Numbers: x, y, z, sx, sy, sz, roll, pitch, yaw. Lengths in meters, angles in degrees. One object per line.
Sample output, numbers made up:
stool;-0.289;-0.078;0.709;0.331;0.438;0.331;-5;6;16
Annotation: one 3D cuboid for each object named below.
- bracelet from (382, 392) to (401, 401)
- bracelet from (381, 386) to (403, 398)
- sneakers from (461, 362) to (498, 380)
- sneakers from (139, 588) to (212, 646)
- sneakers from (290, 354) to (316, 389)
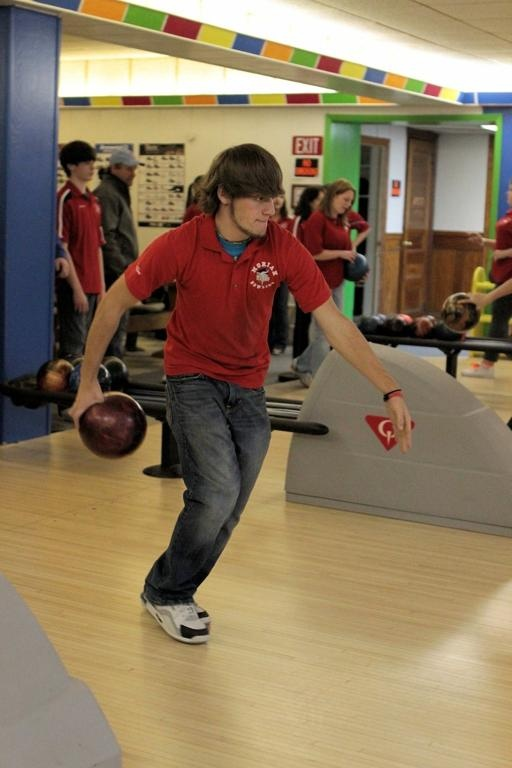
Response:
bracelet;0.362;0.034;1.663;0.031;0.012;0.030;-18;8;35
bracelet;0.359;0.020;1.658;0.033;0.013;0.031;-23;3;18
sneakers;2.621;-0.147;7.573;0.589;0.231;0.209;3;6;8
sneakers;-0.258;0.756;2.060;0.240;0.106;0.085;31;5;26
sneakers;0.492;-0.119;6.759;0.151;0.185;0.434;1;46;-51
